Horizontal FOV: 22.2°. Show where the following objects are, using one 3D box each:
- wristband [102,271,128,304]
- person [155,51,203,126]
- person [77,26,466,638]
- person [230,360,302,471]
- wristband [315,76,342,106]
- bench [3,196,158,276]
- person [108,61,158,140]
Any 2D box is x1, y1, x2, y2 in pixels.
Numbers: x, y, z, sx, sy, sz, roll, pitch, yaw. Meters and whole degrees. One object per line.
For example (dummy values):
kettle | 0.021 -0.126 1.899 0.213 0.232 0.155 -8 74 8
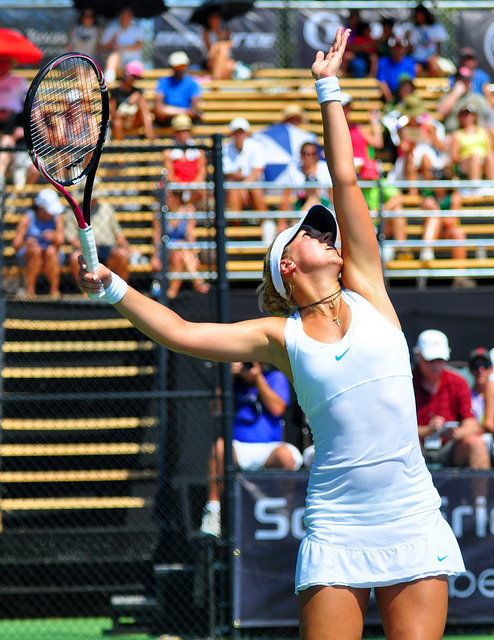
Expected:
wristband | -0.559 -0.139 5.412 0.118 0.130 0.127 -1 -7 7
person | -0.714 -2.428 13.187 0.516 0.799 0.484 0 7 1
person | 0.320 0.145 5.289 1.064 2.285 1.205 -15 22 -33
person | 0.115 0.654 8.472 0.624 0.803 0.461 -7 -21 11
wristband | 0.374 -1.022 5.645 0.128 0.127 0.119 -13 -20 0
bench | -1.265 -0.630 9.587 1.214 0.812 0.289 -1 4 -5
person | -1.164 -2.178 12.609 0.484 0.836 0.473 -7 9 -11
